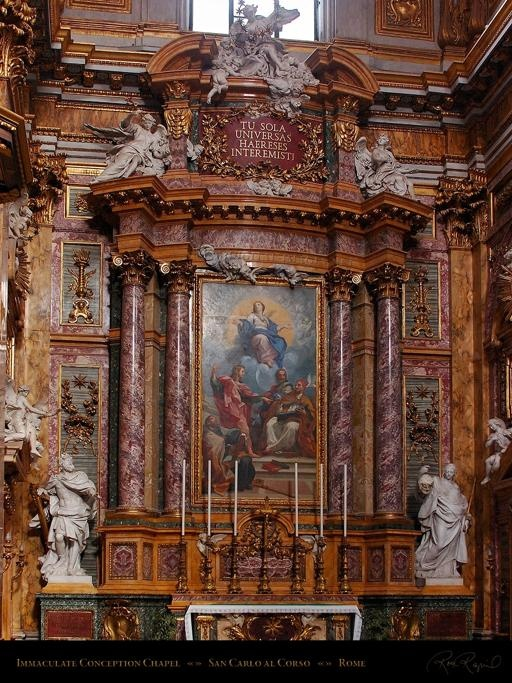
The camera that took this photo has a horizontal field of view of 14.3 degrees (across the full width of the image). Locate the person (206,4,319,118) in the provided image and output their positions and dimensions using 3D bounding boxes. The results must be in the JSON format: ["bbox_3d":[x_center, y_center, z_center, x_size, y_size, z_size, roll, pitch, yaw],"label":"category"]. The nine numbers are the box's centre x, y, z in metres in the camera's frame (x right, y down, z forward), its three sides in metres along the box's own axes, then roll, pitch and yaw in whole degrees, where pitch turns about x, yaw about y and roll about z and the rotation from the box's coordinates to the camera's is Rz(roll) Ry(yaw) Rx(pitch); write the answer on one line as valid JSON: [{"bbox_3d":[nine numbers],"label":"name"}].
[{"bbox_3d":[0.054,-2.906,20.448,1.105,1.287,0.349,4,-14,-18],"label":"person"}]

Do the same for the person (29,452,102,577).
[{"bbox_3d":[-1.754,1.616,18.923,0.548,1.194,0.360,1,-14,-6],"label":"person"}]

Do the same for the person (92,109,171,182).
[{"bbox_3d":[-1.215,-1.907,19.828,0.785,0.855,0.463,0,-14,-6],"label":"person"}]

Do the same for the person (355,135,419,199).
[{"bbox_3d":[1.289,-1.742,20.366,0.535,0.814,0.424,13,-28,-30],"label":"person"}]

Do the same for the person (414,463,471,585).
[{"bbox_3d":[1.771,1.707,19.382,0.536,1.159,0.283,-2,-14,5],"label":"person"}]
